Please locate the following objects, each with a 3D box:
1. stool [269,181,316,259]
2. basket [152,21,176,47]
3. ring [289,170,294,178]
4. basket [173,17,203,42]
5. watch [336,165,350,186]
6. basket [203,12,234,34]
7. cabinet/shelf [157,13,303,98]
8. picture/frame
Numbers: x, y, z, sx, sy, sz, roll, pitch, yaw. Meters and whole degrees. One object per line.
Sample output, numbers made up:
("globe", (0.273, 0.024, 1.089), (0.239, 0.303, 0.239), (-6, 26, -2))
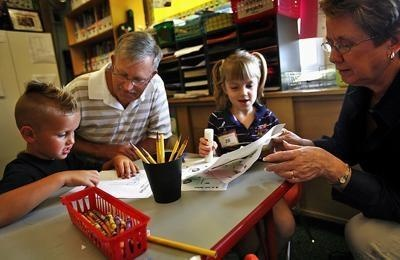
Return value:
("stool", (0.528, 0.495, 1.659), (0.346, 0.427, 0.319), (-1, 1, 25))
("basket", (-0.362, -1.046, 3.112), (0.313, 0.233, 0.252), (9, 19, 37))
("ring", (0.433, 0.212, 1.297), (0.024, 0.024, 0.024), (-2, 8, 0))
("basket", (-0.098, -1.022, 2.878), (0.387, 0.245, 0.222), (10, 20, 40))
("watch", (0.692, 0.221, 1.332), (0.063, 0.033, 0.076), (12, 57, 39))
("basket", (0.185, -0.996, 2.670), (0.216, 0.056, 0.223), (0, 15, 38))
("cabinet/shelf", (0.216, -0.807, 2.984), (1.594, 0.790, 0.476), (3, 14, 42))
("picture/frame", (-2.346, -1.463, 3.650), (0.053, 0.369, 0.527), (-9, -9, 44))
